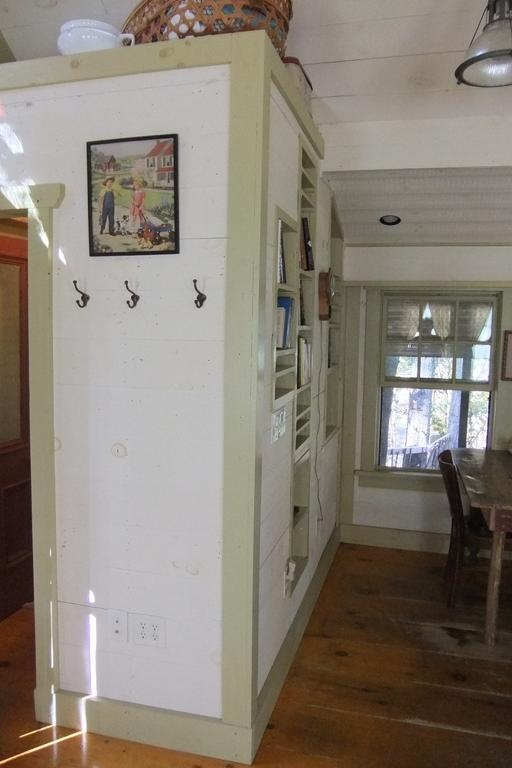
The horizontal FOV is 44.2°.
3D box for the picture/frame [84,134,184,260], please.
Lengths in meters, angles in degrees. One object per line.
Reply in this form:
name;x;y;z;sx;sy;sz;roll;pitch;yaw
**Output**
picture/frame;-0.366;-0.588;1.942;0.369;0.456;0.018;2;9;12
